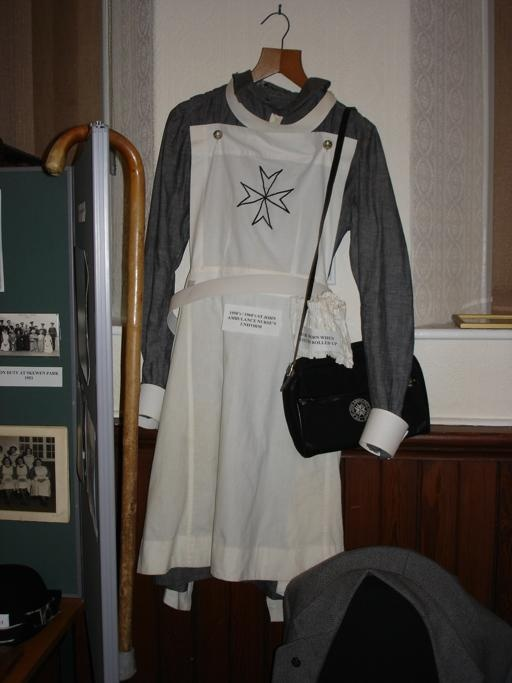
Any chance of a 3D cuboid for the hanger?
[{"bbox_3d":[0.051,-0.620,1.337,0.141,0.227,0.006,1,0,3],"label":"hanger"}]
